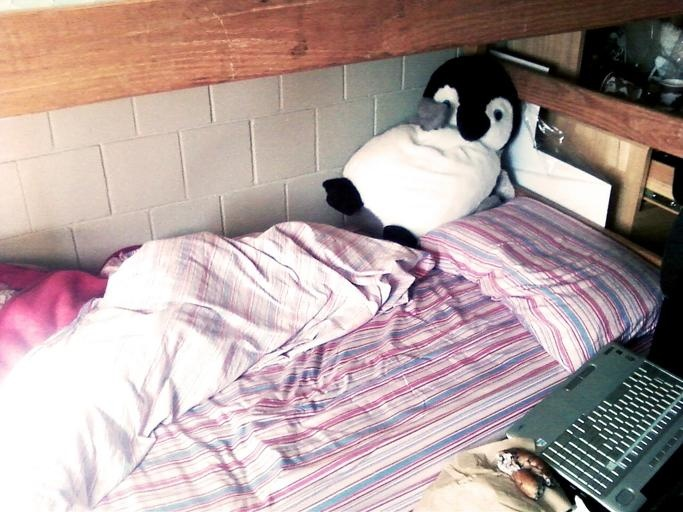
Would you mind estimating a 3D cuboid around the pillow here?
[{"bbox_3d":[0.627,0.058,1.649,0.555,0.149,0.686,-20,32,-25],"label":"pillow"}]
